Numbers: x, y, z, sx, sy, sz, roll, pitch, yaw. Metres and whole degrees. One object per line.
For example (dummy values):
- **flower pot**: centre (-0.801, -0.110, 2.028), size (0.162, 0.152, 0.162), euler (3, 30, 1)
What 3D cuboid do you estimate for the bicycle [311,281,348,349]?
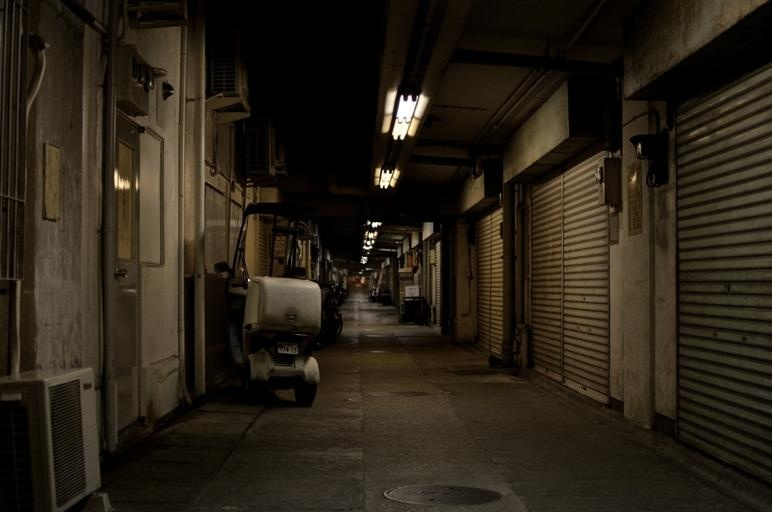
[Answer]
- **bicycle**: centre (-1.570, 1.703, 19.708), size (1.001, 1.333, 2.125), euler (0, 2, -2)

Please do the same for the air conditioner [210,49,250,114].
- **air conditioner**: centre (-2.822, -3.314, 12.472), size (0.389, 1.045, 1.135), euler (-3, 15, -4)
